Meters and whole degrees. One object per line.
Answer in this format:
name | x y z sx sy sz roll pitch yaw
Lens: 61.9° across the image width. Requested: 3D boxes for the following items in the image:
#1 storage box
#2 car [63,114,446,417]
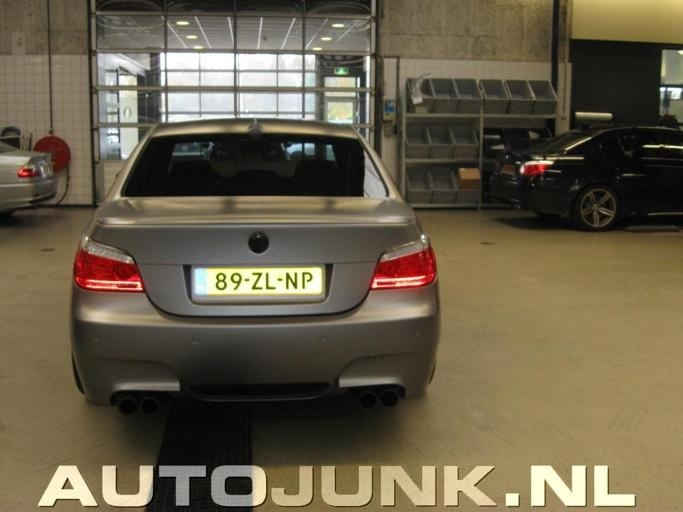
storage box | 2.800 -2.420 12.243 3.411 3.473 1.100 0 6 -4
car | -0.470 -0.114 3.223 1.108 0.853 1.992 0 10 -2
